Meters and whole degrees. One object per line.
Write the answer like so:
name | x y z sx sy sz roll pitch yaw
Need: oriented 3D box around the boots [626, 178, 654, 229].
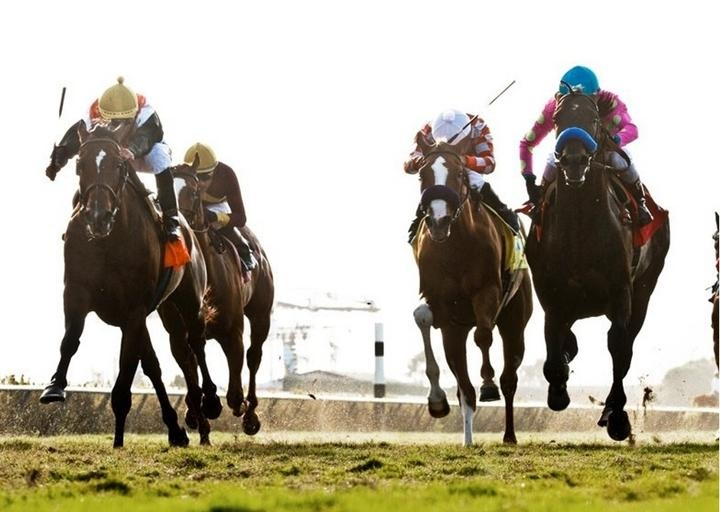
boots | 3.409 -0.608 14.281 0.199 0.616 0.432 -1 6 10

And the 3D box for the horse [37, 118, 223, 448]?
horse | -2.777 0.335 13.566 0.735 3.717 2.021 0 -5 18

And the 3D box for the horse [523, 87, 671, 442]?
horse | 2.927 0.049 14.263 1.487 4.255 2.683 0 -5 18

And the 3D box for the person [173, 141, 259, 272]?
person | -2.017 -0.521 15.436 0.527 1.526 1.031 -19 6 -3

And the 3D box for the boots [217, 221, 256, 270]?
boots | -1.820 -0.155 16.554 0.456 0.918 0.249 -5 -17 -43

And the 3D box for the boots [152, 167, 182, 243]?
boots | -2.330 -0.574 14.046 0.220 0.945 0.483 -3 -15 6
